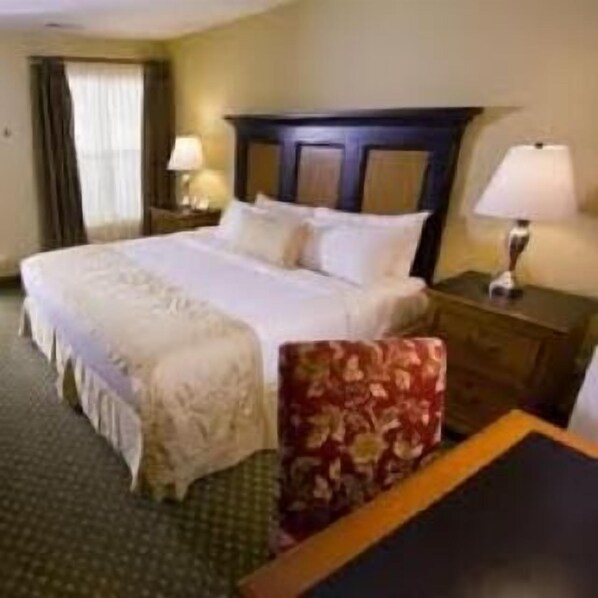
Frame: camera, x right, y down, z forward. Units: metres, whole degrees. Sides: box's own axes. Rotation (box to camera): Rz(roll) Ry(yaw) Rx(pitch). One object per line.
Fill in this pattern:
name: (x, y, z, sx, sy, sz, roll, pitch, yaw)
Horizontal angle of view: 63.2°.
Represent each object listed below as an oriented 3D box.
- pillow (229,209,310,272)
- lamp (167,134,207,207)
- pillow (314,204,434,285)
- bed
pillow: (-0.163, -0.378, 3.122, 0.157, 0.381, 0.537, 26, -5, -42)
lamp: (-1.080, -1.273, 4.705, 0.382, 0.780, 0.394, -18, 35, -35)
pillow: (0.460, -0.307, 2.890, 0.108, 0.296, 0.403, 32, -6, -39)
bed: (-0.329, -0.230, 2.975, 2.148, 2.008, 2.301, -12, 28, -32)
